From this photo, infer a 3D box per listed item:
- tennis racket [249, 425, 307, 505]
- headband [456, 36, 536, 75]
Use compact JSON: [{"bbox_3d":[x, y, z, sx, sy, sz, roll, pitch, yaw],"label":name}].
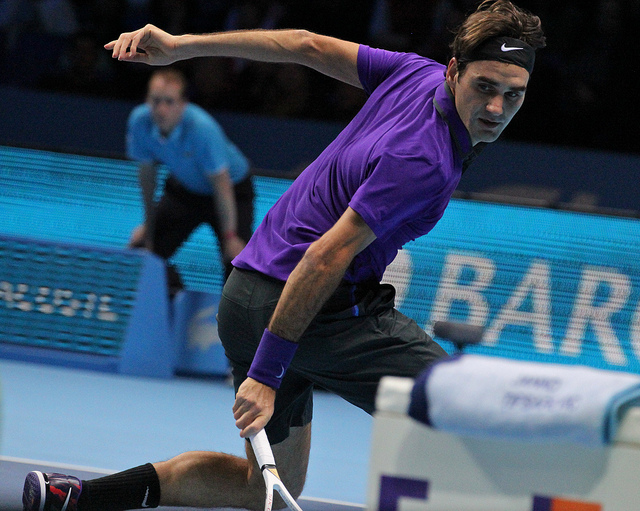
[{"bbox_3d":[-0.215,0.839,4.119,0.053,0.195,0.419,54,3,-38],"label":"tennis racket"},{"bbox_3d":[0.724,-0.831,4.104,0.324,0.132,0.138,9,16,1],"label":"headband"}]
